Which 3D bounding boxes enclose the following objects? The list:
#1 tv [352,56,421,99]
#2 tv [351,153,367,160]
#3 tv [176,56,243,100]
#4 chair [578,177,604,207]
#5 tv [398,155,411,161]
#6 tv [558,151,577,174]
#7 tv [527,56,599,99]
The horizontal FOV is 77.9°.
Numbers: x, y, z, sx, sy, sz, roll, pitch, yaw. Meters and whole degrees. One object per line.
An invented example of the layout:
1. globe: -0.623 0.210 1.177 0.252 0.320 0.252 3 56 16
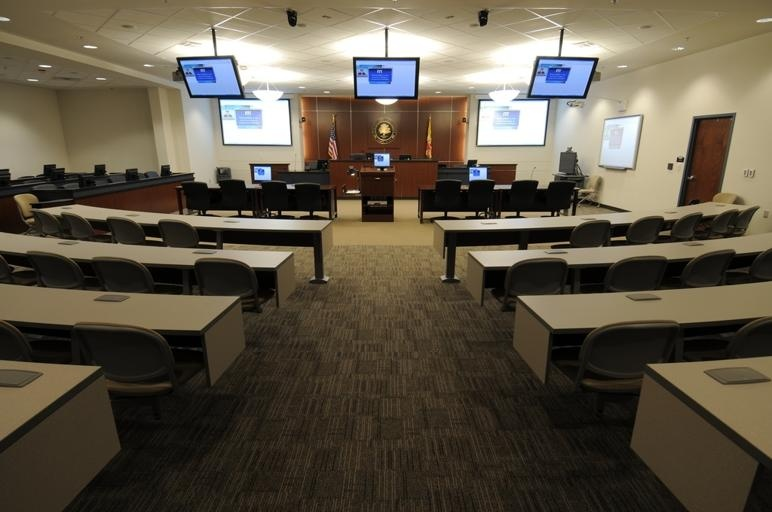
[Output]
1. tv: 0.016 -2.928 7.879 0.983 0.531 0.088 1 36 0
2. tv: -0.675 -2.695 12.827 0.371 0.217 0.239 2 35 2
3. tv: -2.878 -2.921 7.871 0.102 0.665 1.049 4 20 38
4. chair: 5.540 -1.737 12.871 0.838 0.838 0.632 -3 18 2
5. tv: 0.534 -2.685 13.182 0.293 0.157 0.259 0 10 -1
6. tv: 5.211 -2.647 13.683 0.292 0.723 0.836 -3 7 -13
7. tv: 2.889 -2.896 7.826 0.121 0.663 1.162 -10 25 -35
